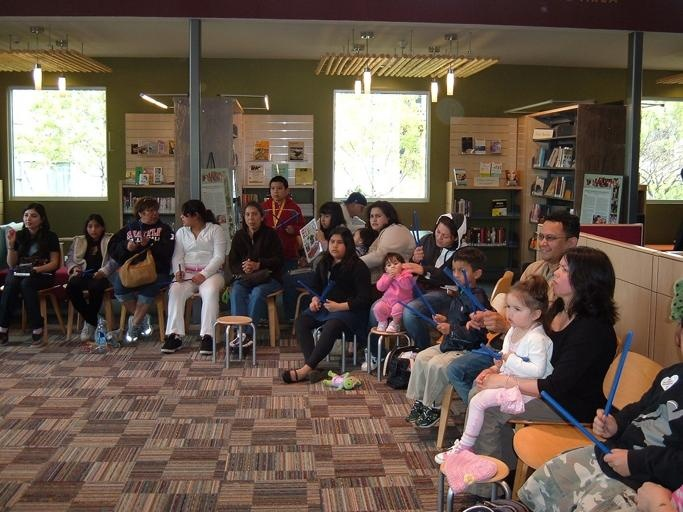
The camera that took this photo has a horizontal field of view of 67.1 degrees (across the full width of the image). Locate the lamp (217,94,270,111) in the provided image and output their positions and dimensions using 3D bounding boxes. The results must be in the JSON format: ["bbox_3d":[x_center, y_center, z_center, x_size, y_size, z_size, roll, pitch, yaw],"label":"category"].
[{"bbox_3d":[-1.602,-2.721,9.236,0.866,0.213,0.871,1,2,6],"label":"lamp"}]

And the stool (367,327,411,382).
[{"bbox_3d":[0.485,0.947,5.082,0.377,0.434,0.343,-1,-2,-13],"label":"stool"}]

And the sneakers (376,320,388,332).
[{"bbox_3d":[0.392,0.665,4.919,0.093,0.103,0.265,0,-1,10],"label":"sneakers"}]

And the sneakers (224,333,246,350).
[{"bbox_3d":[-1.111,0.920,5.500,0.108,0.118,0.302,3,1,12],"label":"sneakers"}]

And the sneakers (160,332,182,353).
[{"bbox_3d":[-1.855,0.954,5.601,0.111,0.128,0.298,1,0,6],"label":"sneakers"}]

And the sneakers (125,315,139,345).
[{"bbox_3d":[-2.404,0.856,5.898,0.121,0.355,0.150,3,-11,-40],"label":"sneakers"}]

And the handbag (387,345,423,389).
[{"bbox_3d":[0.541,1.010,4.814,0.378,0.369,0.351,1,-2,-25],"label":"handbag"}]

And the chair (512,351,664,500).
[{"bbox_3d":[1.211,0.983,2.784,0.731,0.948,0.460,-2,11,-18],"label":"chair"}]

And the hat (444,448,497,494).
[{"bbox_3d":[0.644,1.060,2.555,0.271,0.121,0.202,1,10,-2],"label":"hat"}]

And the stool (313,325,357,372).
[{"bbox_3d":[-0.125,0.942,5.404,0.375,0.602,0.451,1,8,0],"label":"stool"}]

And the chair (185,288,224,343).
[{"bbox_3d":[-1.623,0.675,5.738,0.356,0.374,0.345,21,-16,-35],"label":"chair"}]

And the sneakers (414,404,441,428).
[{"bbox_3d":[0.606,1.210,3.924,0.321,0.137,0.108,1,-2,-25],"label":"sneakers"}]

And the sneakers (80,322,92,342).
[{"bbox_3d":[-2.927,0.852,5.918,0.135,0.199,0.220,-5,11,-28],"label":"sneakers"}]

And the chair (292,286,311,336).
[{"bbox_3d":[-0.444,0.602,6.406,0.289,0.428,0.289,7,9,5],"label":"chair"}]

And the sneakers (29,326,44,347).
[{"bbox_3d":[-3.387,0.880,5.746,0.127,0.198,0.182,-4,12,-27],"label":"sneakers"}]

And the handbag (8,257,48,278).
[{"bbox_3d":[-3.566,0.125,5.777,0.198,0.199,0.065,2,-12,0],"label":"handbag"}]

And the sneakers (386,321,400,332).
[{"bbox_3d":[0.486,0.665,4.890,0.092,0.081,0.204,0,-4,10],"label":"sneakers"}]

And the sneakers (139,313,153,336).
[{"bbox_3d":[-2.330,0.832,6.163,0.094,0.286,0.122,-7,-9,-9],"label":"sneakers"}]

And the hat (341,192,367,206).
[{"bbox_3d":[0.188,-0.779,7.131,0.255,0.146,0.180,11,6,7],"label":"hat"}]

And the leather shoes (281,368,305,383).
[{"bbox_3d":[-0.464,1.120,4.870,0.197,0.064,0.107,0,11,-19],"label":"leather shoes"}]

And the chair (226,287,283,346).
[{"bbox_3d":[-1.014,0.589,5.797,0.605,0.654,0.569,-6,11,-30],"label":"chair"}]

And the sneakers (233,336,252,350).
[{"bbox_3d":[-1.074,0.942,5.615,0.109,0.106,0.255,0,-2,26],"label":"sneakers"}]

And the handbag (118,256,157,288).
[{"bbox_3d":[-2.288,0.110,5.716,0.409,0.405,0.194,-14,23,-42],"label":"handbag"}]

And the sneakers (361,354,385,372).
[{"bbox_3d":[0.309,1.088,5.210,0.105,0.123,0.293,-1,-5,21],"label":"sneakers"}]

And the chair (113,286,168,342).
[{"bbox_3d":[-2.258,0.543,6.097,0.546,0.419,0.546,2,9,-44],"label":"chair"}]

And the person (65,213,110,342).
[{"bbox_3d":[-2.938,0.238,6.002,0.495,1.387,0.716,-4,11,-24],"label":"person"}]

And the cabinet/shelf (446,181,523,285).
[{"bbox_3d":[2.794,-0.398,9.997,1.181,2.023,0.634,4,22,21],"label":"cabinet/shelf"}]

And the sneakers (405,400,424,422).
[{"bbox_3d":[0.587,1.214,4.069,0.075,0.105,0.230,2,-2,36],"label":"sneakers"}]

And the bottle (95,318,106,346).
[{"bbox_3d":[-2.647,0.833,5.686,0.105,0.300,0.180,-4,11,-23],"label":"bottle"}]

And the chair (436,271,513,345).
[{"bbox_3d":[0.994,0.366,3.811,0.645,0.608,0.462,0,0,8],"label":"chair"}]

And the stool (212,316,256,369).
[{"bbox_3d":[-1.129,0.853,5.358,0.521,0.610,0.452,1,2,-13],"label":"stool"}]
